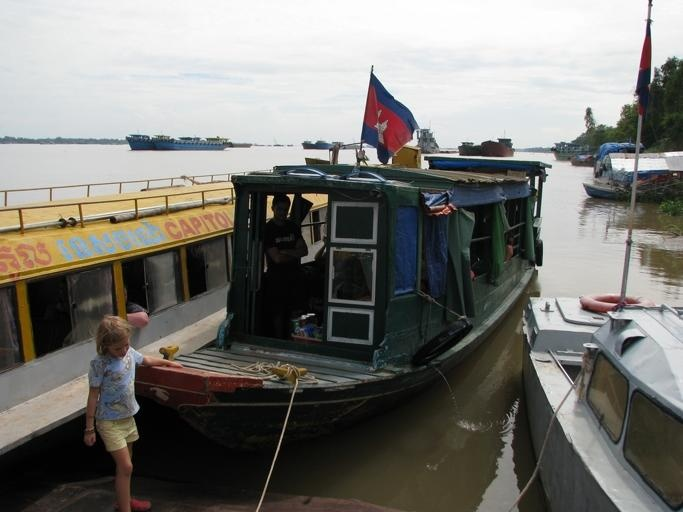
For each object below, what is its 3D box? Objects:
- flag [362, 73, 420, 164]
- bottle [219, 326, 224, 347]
[{"bbox_3d":[0.775,-2.330,9.360,1.067,1.444,0.390,-9,14,-35],"label":"flag"},{"bbox_3d":[-1.679,1.135,7.779,0.102,0.300,0.040,-5,13,-20],"label":"bottle"}]
